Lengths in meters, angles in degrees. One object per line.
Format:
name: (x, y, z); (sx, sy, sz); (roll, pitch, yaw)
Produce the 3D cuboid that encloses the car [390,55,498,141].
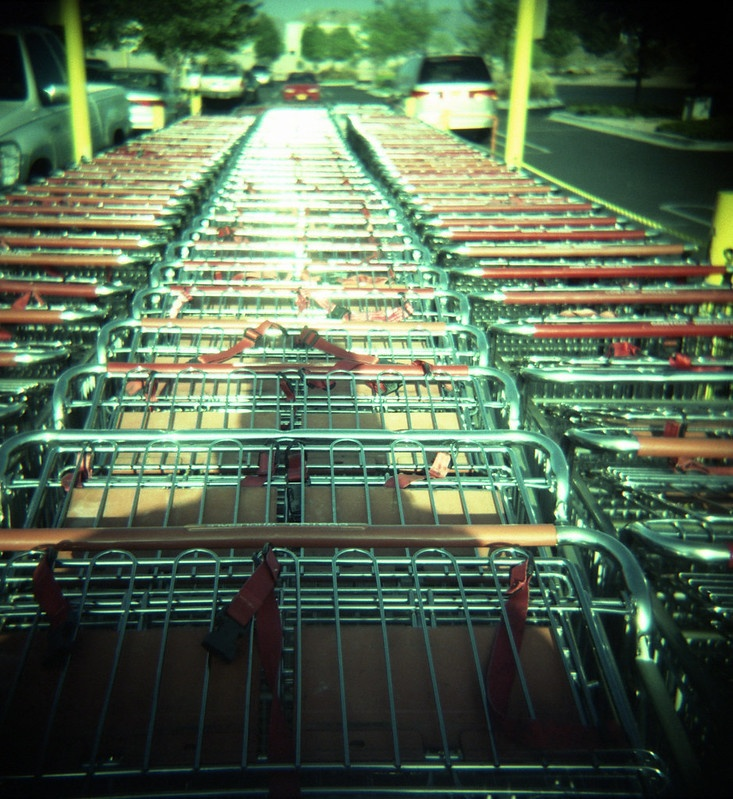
car: (1.470, -5.284, 13.812); (1.572, 1.338, 2.697); (-2, 50, -3)
